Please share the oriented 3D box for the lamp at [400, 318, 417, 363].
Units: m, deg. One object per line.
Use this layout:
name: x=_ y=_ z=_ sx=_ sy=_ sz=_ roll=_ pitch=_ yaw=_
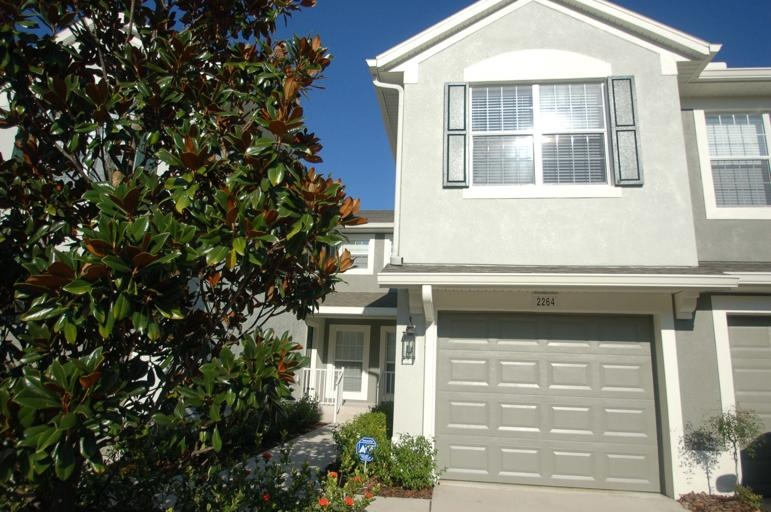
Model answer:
lamp: x=0.456 y=1.704 z=11.008 sx=0.294 sy=0.938 sz=0.165 roll=0 pitch=-15 yaw=0
